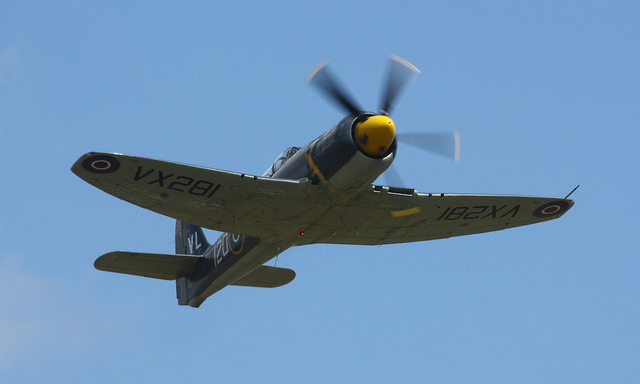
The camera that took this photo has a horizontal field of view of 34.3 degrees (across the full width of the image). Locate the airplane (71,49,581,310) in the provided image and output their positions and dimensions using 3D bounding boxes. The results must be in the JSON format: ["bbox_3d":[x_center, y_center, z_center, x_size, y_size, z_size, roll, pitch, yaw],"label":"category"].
[{"bbox_3d":[-0.570,0.531,24.535,9.928,2.245,7.619,8,-28,-33],"label":"airplane"}]
